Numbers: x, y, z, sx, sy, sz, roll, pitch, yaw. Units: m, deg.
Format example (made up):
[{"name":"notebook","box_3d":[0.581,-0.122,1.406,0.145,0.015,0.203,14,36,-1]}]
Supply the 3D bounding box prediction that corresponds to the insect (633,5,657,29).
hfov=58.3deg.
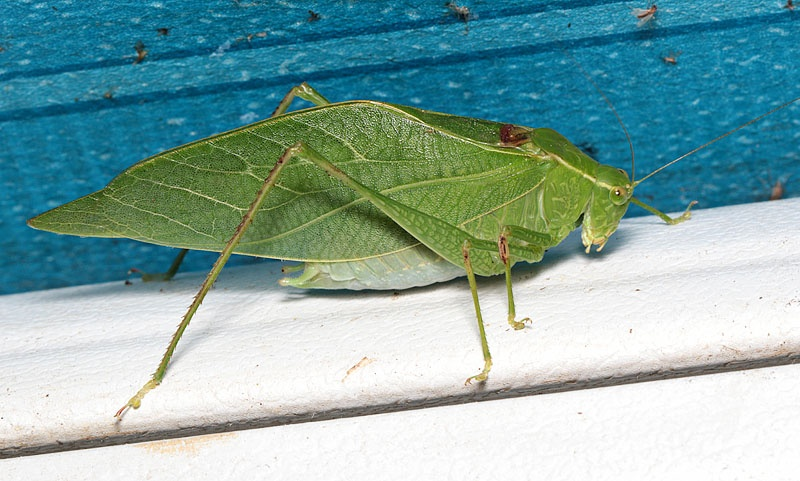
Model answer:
[{"name":"insect","box_3d":[0.799,-0.733,2.338,0.077,0.065,0.033,-5,38,9]}]
